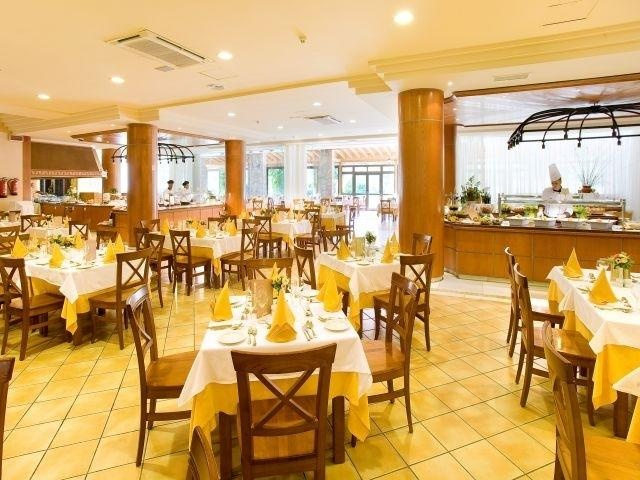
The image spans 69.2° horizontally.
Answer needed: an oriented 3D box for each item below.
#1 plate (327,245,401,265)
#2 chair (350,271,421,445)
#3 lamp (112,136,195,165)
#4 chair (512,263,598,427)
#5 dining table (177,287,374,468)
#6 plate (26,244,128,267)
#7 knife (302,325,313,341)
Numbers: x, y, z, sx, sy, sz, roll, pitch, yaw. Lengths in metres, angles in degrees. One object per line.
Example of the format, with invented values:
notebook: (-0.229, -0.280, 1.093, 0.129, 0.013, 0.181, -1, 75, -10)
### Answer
plate: (0.558, 0.152, 6.193, 0.995, 0.353, 0.707, -1, 5, 3)
chair: (0.530, 1.148, 4.660, 0.847, 1.407, 0.975, -7, 9, -29)
lamp: (-5.053, -2.741, 13.920, 1.694, 0.477, 1.853, 9, 13, 29)
chair: (2.513, 1.060, 4.816, 0.996, 1.338, 1.019, 2, 4, -3)
dining table: (-0.470, 1.102, 3.930, 1.254, 0.687, 1.293, -1, 7, -14)
plate: (-3.321, 0.175, 6.291, 1.281, 0.273, 0.765, 0, 5, 8)
knife: (-0.111, 0.825, 4.082, 0.049, 0.025, 0.188, -4, 15, -7)
